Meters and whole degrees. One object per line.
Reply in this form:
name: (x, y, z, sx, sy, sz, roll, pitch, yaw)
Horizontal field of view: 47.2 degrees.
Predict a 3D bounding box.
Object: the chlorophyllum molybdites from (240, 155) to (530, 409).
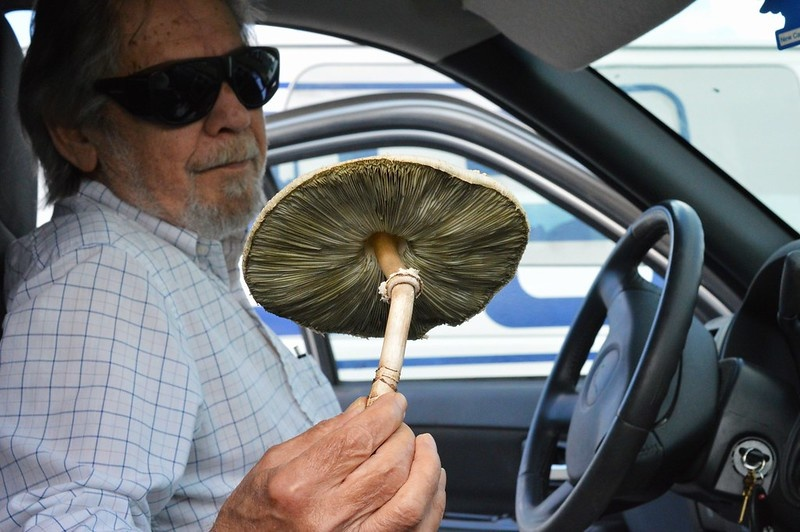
chlorophyllum molybdites: (-0.047, -0.010, 2.510, 0.751, 0.648, 0.382, -6, 24, -22)
